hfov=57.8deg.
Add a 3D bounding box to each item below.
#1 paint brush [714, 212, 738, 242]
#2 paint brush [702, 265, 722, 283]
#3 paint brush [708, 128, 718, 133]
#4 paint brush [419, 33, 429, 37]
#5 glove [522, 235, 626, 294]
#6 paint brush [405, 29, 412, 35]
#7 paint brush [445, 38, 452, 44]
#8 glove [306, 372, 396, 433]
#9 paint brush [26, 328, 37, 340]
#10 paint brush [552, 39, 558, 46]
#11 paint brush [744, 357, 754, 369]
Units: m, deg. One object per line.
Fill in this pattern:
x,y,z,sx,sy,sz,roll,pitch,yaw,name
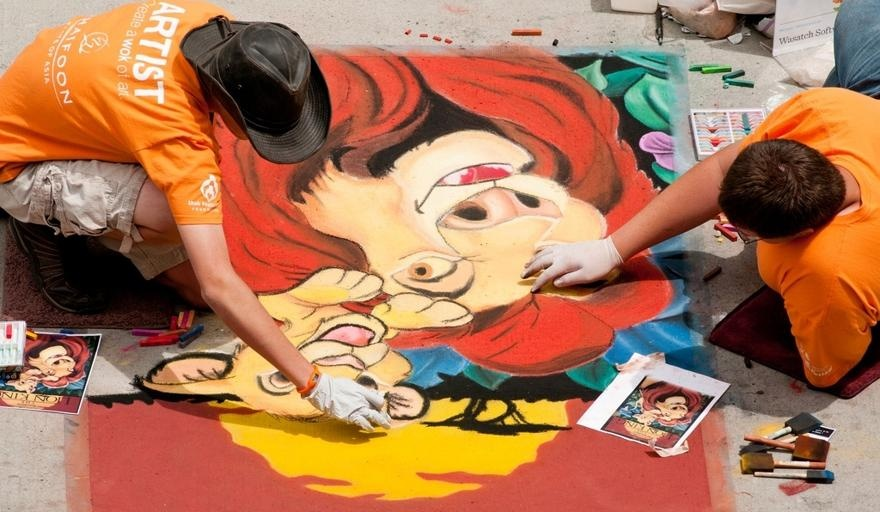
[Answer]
2.306,-0.231,6.414,0.197,0.187,0.050,30,84,-4,paint brush
2.223,0.148,6.505,0.162,0.037,0.100,-38,67,-8,paint brush
2.439,-1.141,7.117,0.056,0.012,0.051,-2,23,-3,paint brush
-0.161,-2.172,7.784,0.084,0.014,0.061,-6,54,2,paint brush
1.050,0.041,6.479,0.853,0.224,0.434,-9,39,-4,glove
-0.317,-2.212,7.800,0.076,0.017,0.061,1,79,-2,paint brush
0.086,-2.104,7.739,0.075,0.011,0.070,-2,54,5,paint brush
-0.637,1.078,5.821,0.674,0.196,0.340,26,71,-9,glove
-3.242,0.618,6.309,0.023,0.077,0.101,-60,32,6,paint brush
1.123,-2.092,7.715,0.046,0.028,0.065,12,61,12,paint brush
2.376,0.820,6.114,0.063,0.029,0.070,-12,95,4,paint brush
